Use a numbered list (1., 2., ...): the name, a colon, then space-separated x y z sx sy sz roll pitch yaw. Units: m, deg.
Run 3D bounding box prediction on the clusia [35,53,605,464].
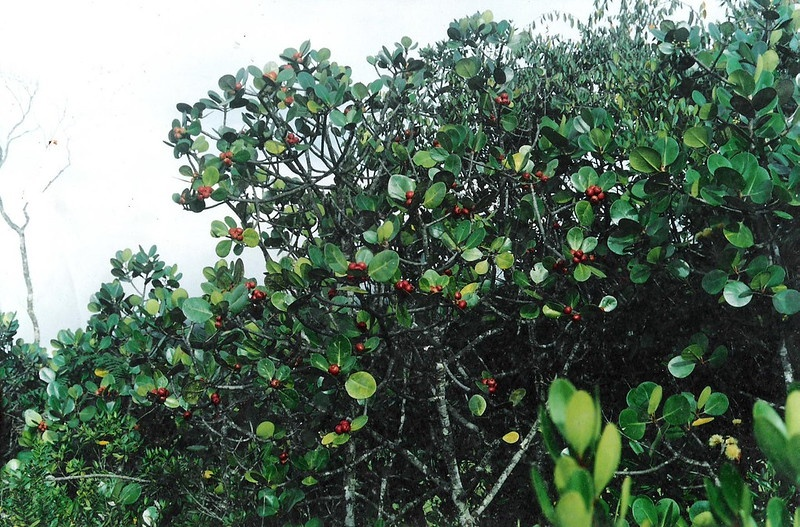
1. clusia: -0.276 -0.154 6.568 3.692 3.707 3.328 -4 -76 4
